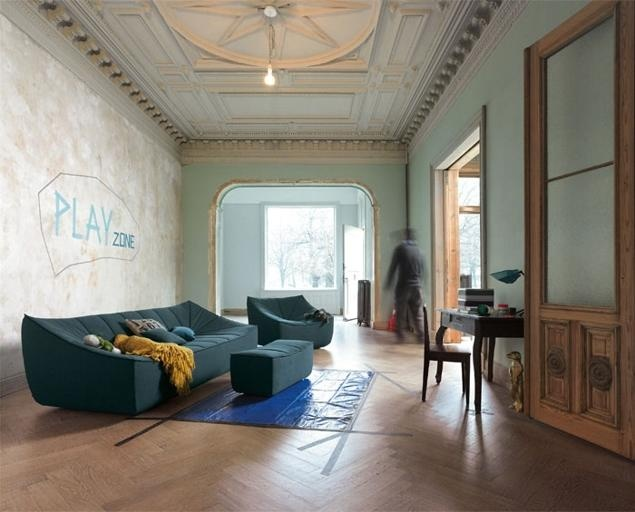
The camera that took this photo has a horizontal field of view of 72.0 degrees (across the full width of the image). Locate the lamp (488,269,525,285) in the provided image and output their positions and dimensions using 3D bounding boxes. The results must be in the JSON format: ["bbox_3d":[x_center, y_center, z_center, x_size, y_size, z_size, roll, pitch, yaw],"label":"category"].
[{"bbox_3d":[1.856,0.179,4.163,0.279,0.103,0.194,1,-1,-20],"label":"lamp"}]

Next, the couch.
[{"bbox_3d":[-1.700,0.919,4.972,1.333,0.873,2.541,0,2,13],"label":"couch"}]

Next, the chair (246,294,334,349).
[{"bbox_3d":[-0.445,1.040,7.050,1.118,0.837,1.007,1,1,-44],"label":"chair"}]

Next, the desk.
[{"bbox_3d":[1.625,1.063,4.392,0.640,0.898,1.328,1,-1,-5],"label":"desk"}]
